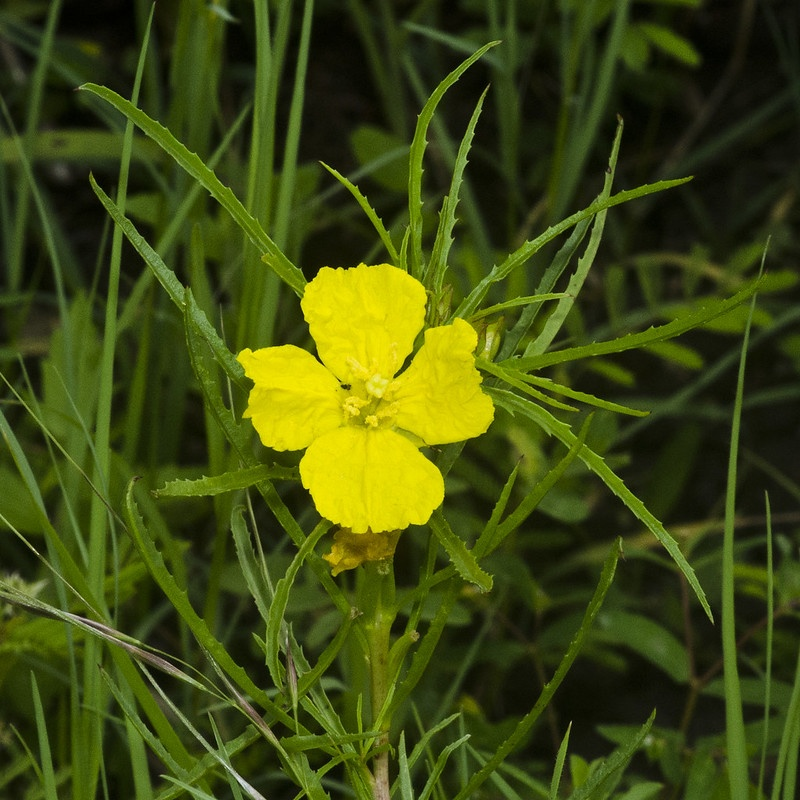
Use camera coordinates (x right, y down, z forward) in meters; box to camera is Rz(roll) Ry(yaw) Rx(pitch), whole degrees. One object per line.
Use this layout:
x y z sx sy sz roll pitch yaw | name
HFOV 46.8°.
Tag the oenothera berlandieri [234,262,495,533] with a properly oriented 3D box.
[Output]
-0.008 -0.029 0.700 0.187 0.196 0.066 -7 63 21 | oenothera berlandieri
